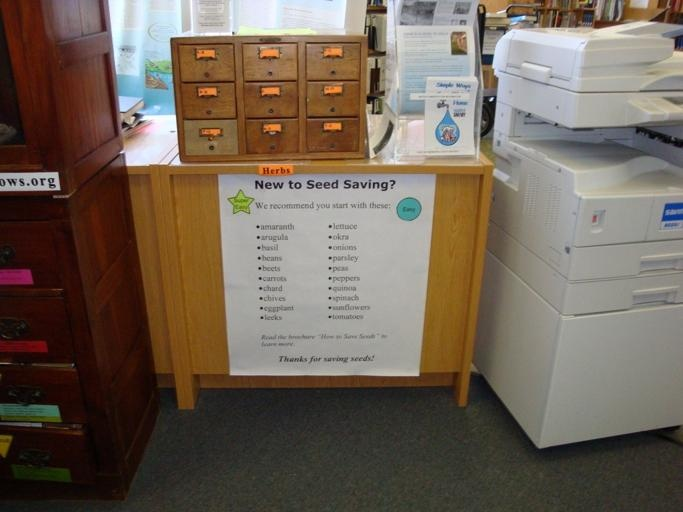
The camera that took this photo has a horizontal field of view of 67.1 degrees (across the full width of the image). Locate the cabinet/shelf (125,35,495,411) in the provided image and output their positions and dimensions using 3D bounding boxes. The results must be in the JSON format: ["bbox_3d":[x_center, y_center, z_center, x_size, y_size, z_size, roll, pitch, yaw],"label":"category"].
[{"bbox_3d":[-0.152,-0.279,2.744,1.545,1.470,1.565,-1,25,-6],"label":"cabinet/shelf"}]
